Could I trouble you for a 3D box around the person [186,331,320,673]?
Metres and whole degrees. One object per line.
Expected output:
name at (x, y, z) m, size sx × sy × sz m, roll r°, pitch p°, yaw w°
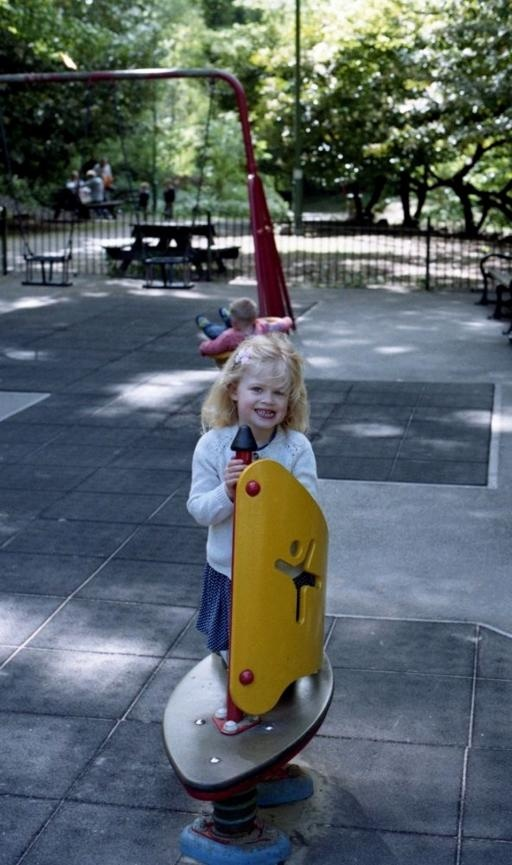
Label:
person at (-0.008, 0.244, 2.469) m, size 0.367 × 1.046 × 0.587 m, roll -1°, pitch 13°, yaw 0°
